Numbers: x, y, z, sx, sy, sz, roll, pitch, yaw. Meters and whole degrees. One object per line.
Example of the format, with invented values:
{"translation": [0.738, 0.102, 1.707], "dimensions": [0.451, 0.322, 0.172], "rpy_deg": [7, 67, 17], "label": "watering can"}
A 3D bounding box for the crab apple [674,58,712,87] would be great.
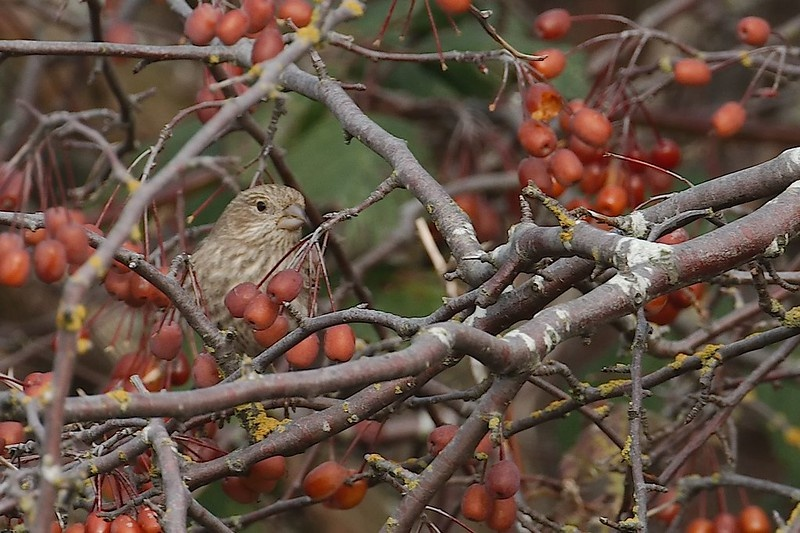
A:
{"translation": [0.965, -0.647, 2.922], "dimensions": [0.109, 0.085, 0.061], "rpy_deg": [8, -12, 11], "label": "crab apple"}
